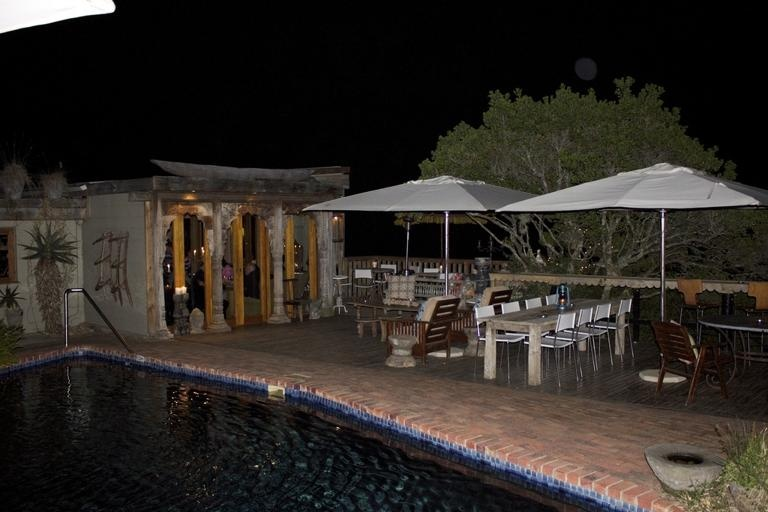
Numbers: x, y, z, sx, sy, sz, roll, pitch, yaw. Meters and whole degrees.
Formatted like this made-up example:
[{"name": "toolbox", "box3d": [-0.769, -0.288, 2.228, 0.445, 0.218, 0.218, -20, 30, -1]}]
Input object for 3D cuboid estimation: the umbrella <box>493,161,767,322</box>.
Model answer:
[{"name": "umbrella", "box3d": [4.344, -0.731, 9.022, 3.318, 1.985, 3.339, 1, 4, 32]}]
